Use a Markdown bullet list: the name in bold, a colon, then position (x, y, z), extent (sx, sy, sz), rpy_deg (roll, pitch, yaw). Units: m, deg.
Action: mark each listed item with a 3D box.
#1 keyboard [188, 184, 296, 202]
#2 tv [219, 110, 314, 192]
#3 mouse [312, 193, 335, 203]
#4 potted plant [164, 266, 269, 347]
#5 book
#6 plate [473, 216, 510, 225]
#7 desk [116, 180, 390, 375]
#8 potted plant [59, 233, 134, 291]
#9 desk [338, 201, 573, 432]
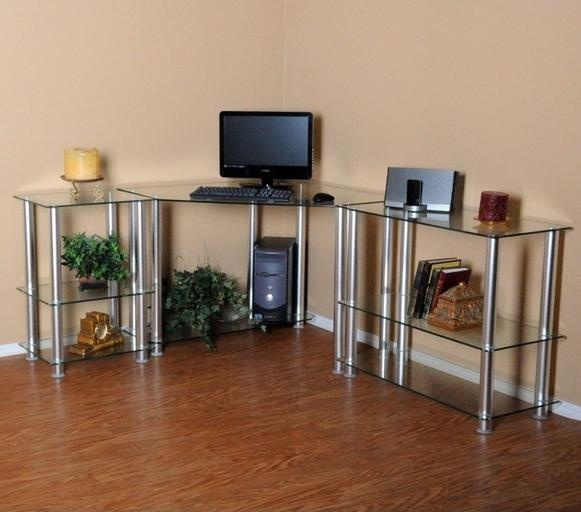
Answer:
- **keyboard**: position (-0.241, -0.323, 3.021), extent (0.561, 0.073, 0.334), rpy_deg (-2, 8, -9)
- **tv**: position (-0.172, -0.615, 3.354), extent (0.689, 0.425, 0.102), rpy_deg (-9, 16, -41)
- **mouse**: position (0.178, -0.291, 2.951), extent (0.098, 0.051, 0.032), rpy_deg (1, 15, -1)
- **potted plant**: position (-0.501, 0.205, 3.389), extent (0.374, 0.208, 0.352), rpy_deg (-27, 44, -32)
- **book**: position (0.682, 0.154, 2.591), extent (0.334, 0.237, 0.185), rpy_deg (-5, 16, -39)
- **plate**: position (0.855, -0.150, 2.441), extent (0.152, 0.028, 0.139), rpy_deg (2, 9, 16)
- **desk**: position (-0.230, 0.133, 3.240), extent (1.321, 0.656, 0.653), rpy_deg (6, 10, 35)
- **potted plant**: position (-0.970, 0.053, 3.041), extent (0.355, 0.246, 0.278), rpy_deg (5, 5, 16)
- **desk**: position (0.773, 0.288, 2.625), extent (0.499, 0.766, 1.105), rpy_deg (-7, 13, -34)
